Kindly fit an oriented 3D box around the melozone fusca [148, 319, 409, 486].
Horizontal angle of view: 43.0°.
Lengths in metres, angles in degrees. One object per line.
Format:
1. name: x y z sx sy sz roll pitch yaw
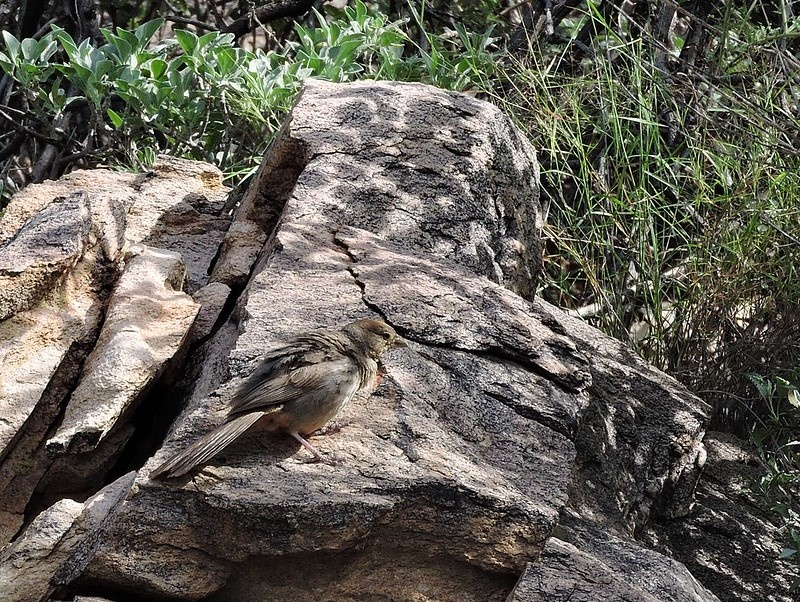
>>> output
1. melozone fusca: -0.554 0.518 5.350 0.494 0.438 1.379 30 42 32
